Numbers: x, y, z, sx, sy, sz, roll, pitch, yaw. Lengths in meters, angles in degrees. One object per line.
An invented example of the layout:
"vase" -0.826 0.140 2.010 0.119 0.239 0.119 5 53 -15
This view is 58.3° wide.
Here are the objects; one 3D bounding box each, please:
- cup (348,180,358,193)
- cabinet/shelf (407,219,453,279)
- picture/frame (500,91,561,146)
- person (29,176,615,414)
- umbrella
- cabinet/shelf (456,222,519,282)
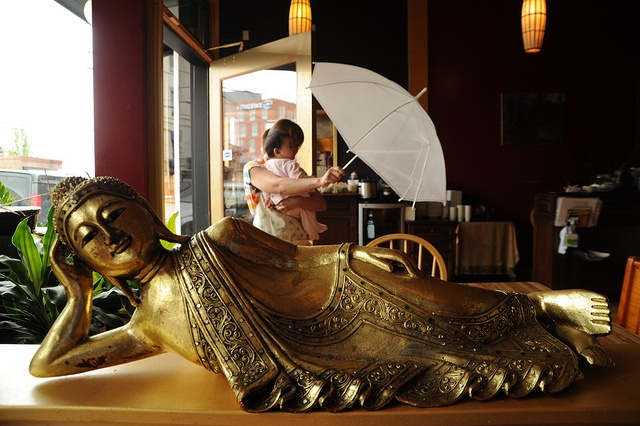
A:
"cup" 0.340 -0.261 5.697 0.116 0.131 0.107 1 -3 0
"cabinet/shelf" 1.070 0.369 5.752 0.518 0.811 0.502 0 -5 -2
"picture/frame" 2.305 -1.007 6.166 0.652 0.603 0.023 1 -9 13
"person" 0.014 0.314 2.463 1.862 0.809 1.019 -1 11 3
"umbrella" 0.320 -0.463 3.140 0.646 0.969 0.492 -11 37 21
"cabinet/shelf" 1.691 0.371 5.783 0.560 0.475 0.590 0 -3 6
